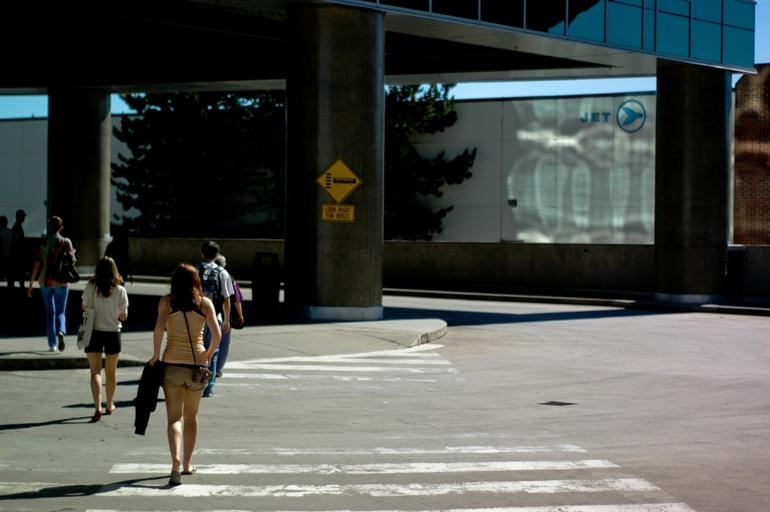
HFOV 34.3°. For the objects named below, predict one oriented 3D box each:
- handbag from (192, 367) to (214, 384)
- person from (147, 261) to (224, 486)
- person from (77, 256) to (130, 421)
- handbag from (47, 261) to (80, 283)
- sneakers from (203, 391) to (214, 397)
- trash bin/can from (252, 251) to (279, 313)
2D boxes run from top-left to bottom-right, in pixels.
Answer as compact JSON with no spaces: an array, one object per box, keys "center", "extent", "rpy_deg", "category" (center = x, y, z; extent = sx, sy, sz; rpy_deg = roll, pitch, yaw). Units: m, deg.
[{"center":[-3.720,2.422,25.231],"extent":[0.354,0.273,0.281],"rpy_deg":[-6,11,-32],"category":"handbag"},{"center":[-4.075,2.392,25.291],"extent":[1.297,4.443,0.779],"rpy_deg":[0,1,-10],"category":"person"},{"center":[-6.290,1.834,27.842],"extent":[0.955,3.598,1.192],"rpy_deg":[0,1,-14],"category":"person"},{"center":[-7.920,0.422,30.896],"extent":[0.752,0.472,0.429],"rpy_deg":[1,1,33],"category":"handbag"},{"center":[-4.117,3.242,28.974],"extent":[0.251,0.184,0.089],"rpy_deg":[-2,-2,2],"category":"sneakers"},{"center":[-3.739,0.881,38.877],"extent":[0.818,1.955,0.946],"rpy_deg":[1,1,-7],"category":"trash bin/can"}]
